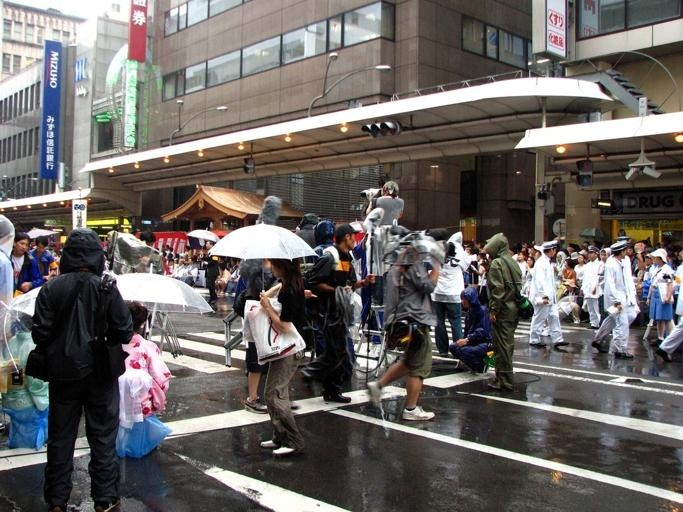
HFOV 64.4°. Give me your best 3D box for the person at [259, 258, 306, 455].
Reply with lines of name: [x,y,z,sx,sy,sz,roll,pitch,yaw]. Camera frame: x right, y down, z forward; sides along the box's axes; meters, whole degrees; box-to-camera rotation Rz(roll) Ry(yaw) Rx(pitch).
person: [-0.651,0.998,5.680,0.664,2.102,0.711,1,-2,-5]

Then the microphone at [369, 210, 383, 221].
microphone: [0.555,-0.664,8.658,0.187,0.196,0.151,6,4,1]

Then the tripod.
tripod: [0.483,0.705,8.641,0.554,2.247,0.697,3,7,-2]

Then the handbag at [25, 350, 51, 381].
handbag: [-2.405,0.867,4.327,0.241,0.254,0.101,1,1,35]
